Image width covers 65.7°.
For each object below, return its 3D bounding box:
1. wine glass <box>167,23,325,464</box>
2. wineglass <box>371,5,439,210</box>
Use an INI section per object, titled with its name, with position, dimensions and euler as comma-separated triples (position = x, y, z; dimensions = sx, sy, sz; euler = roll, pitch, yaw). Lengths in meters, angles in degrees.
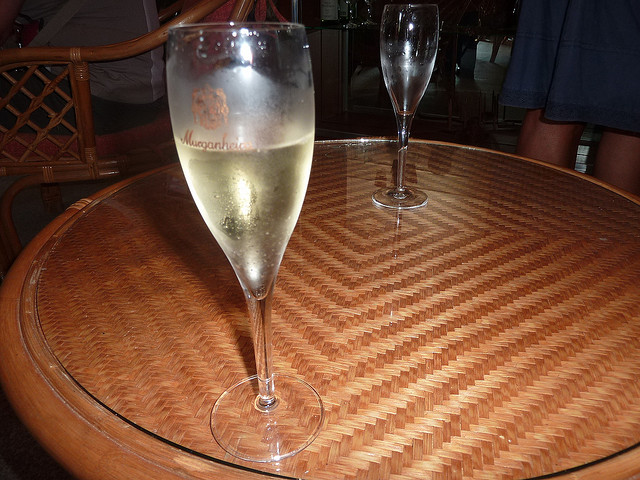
[wine glass]
position = -0.049, 0.010, 0.384
dimensions = 0.103, 0.315, 0.134
euler = -6, 29, -15
[wineglass]
position = 0.115, -0.180, 0.794
dimensions = 0.119, 0.335, 0.101
euler = -4, 30, -15
